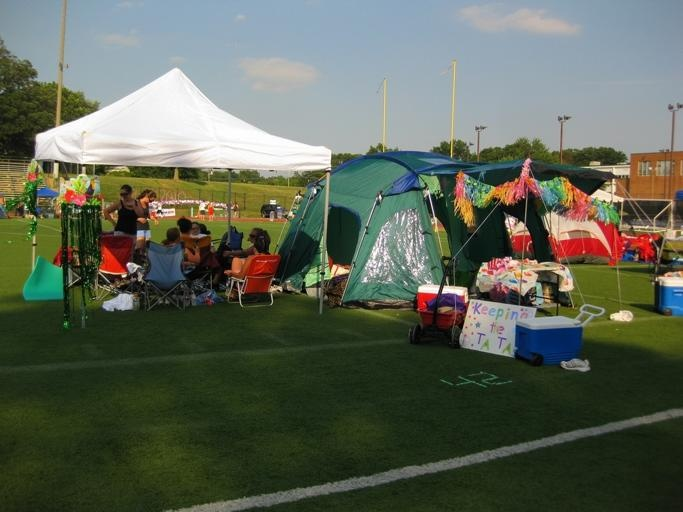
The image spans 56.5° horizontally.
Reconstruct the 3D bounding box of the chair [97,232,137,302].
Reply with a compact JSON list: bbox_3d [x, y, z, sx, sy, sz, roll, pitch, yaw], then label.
[{"bbox_3d":[-4.387,0.224,12.243,0.871,1.174,0.951,2,2,-9],"label":"chair"}]

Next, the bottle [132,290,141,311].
[{"bbox_3d":[-3.575,0.790,11.134,0.130,0.249,0.365,-2,9,-18],"label":"bottle"}]

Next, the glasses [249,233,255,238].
[{"bbox_3d":[-1.664,-0.380,11.874,0.082,0.051,0.076,1,0,-24],"label":"glasses"}]

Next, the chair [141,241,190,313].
[{"bbox_3d":[-3.147,0.390,11.304,1.076,1.169,0.986,-1,-6,6],"label":"chair"}]

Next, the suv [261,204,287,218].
[{"bbox_3d":[-5.660,-3.756,52.279,2.066,0.898,1.410,0,3,39],"label":"suv"}]

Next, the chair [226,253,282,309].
[{"bbox_3d":[-1.668,0.434,11.760,0.783,0.838,0.984,2,-3,-38],"label":"chair"}]

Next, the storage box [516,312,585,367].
[{"bbox_3d":[2.768,1.157,8.543,0.862,0.471,0.580,0,1,-9],"label":"storage box"}]

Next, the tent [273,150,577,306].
[{"bbox_3d":[0.912,-0.666,12.446,4.222,1.632,4.062,1,8,22],"label":"tent"}]

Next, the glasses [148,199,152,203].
[{"bbox_3d":[-3.920,-1.139,13.014,0.077,0.075,0.082,1,-1,19],"label":"glasses"}]
